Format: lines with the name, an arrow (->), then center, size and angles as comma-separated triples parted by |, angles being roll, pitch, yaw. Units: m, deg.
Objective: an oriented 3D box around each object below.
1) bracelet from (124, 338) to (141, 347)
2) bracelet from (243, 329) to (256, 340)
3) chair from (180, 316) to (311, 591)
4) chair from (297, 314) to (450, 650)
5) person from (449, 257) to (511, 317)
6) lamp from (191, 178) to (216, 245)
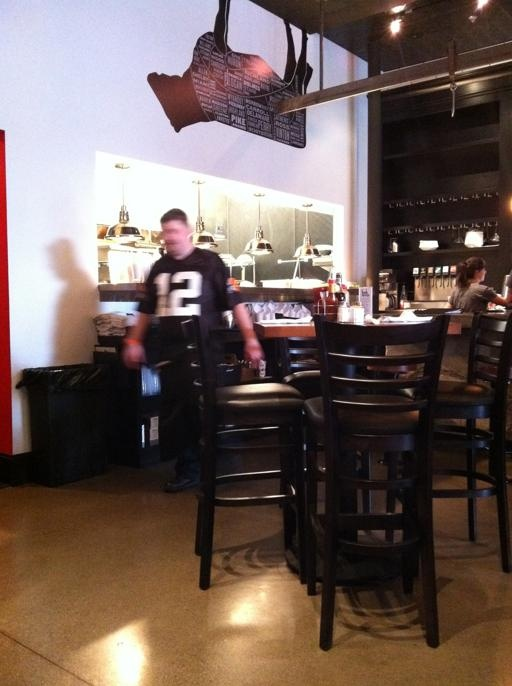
bracelet -> -0.691, -0.001, 3.285 | 0.050, 0.045, 0.049 | 3, -4, -1
bracelet -> -0.032, -0.044, 2.962 | 0.050, 0.048, 0.053 | -1, 0, 20
chair -> 0.000, 0.398, 2.248 | 0.493, 0.983, 0.512 | 6, -16, -19
chair -> 0.365, 0.401, 1.816 | 0.438, 0.918, 0.435 | 2, -5, -13
person -> 1.868, -0.508, 5.005 | 0.399, 0.497, 0.756 | 0, 2, 14
lamp -> -0.591, -1.360, 6.201 | 0.361, 0.695, 0.367 | -2, 6, -2
